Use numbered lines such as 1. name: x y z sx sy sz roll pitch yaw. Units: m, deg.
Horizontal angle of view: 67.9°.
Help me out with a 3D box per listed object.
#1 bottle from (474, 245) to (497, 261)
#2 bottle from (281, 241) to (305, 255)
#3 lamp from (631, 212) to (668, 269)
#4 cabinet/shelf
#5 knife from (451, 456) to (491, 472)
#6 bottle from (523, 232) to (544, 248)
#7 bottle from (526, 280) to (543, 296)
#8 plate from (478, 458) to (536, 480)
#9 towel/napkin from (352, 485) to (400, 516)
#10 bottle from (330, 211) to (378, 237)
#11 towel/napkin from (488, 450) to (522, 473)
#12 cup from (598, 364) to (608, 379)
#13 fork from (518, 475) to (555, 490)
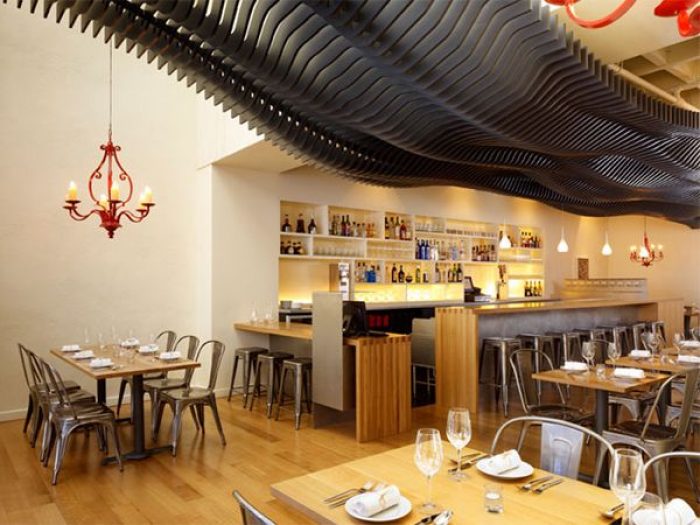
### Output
1. bottle: 2.868 -0.196 11.137 0.323 0.331 0.157 3 -5 -35
2. bottle: -0.929 -0.243 8.369 0.366 0.211 0.255 -4 5 -39
3. lamp: 6.817 -0.422 11.927 0.760 1.240 3.086 2 5 31
4. cabinet/shelf: 1.411 -0.095 9.890 6.228 2.035 0.735 -3 5 -35
5. knife: 0.717 1.202 3.147 0.087 0.041 0.302 0 0 35
6. bottle: 4.246 -0.513 12.130 0.356 0.347 0.118 3 -6 -26
7. bottle: 4.224 0.601 11.995 0.312 0.309 0.108 3 -7 -20
8. plate: 0.901 1.176 3.002 0.164 0.070 0.170 -3 -3 35
9. towel/napkin: 0.141 1.199 2.696 0.204 0.084 0.111 -1 1 -44
10. bottle: 0.058 -0.631 9.057 1.049 0.444 0.339 2 0 43
11. towel/napkin: 0.901 1.146 3.032 0.140 0.056 0.114 -5 10 -21
12. cup: 2.333 1.007 4.803 0.095 0.166 0.102 -1 -4 0
13. fork: 1.040 1.229 2.913 0.038 0.042 0.273 -1 -4 41
